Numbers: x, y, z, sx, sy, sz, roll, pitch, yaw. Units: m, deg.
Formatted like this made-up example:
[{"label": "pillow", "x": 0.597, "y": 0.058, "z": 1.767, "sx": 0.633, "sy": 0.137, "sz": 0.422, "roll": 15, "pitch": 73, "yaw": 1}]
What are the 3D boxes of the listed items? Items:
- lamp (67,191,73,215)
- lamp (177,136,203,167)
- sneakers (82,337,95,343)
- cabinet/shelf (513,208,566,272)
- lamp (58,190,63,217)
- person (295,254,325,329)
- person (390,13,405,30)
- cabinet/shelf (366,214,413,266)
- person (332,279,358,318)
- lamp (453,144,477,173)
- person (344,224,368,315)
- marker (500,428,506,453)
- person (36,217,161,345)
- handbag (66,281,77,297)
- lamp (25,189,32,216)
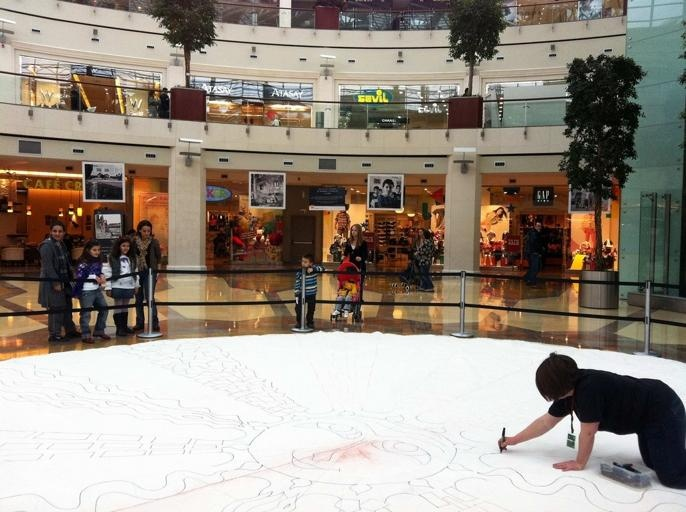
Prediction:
[{"label": "lamp", "x": -11.496, "y": -2.235, "z": 24.422, "sx": 0.294, "sy": 0.940, "sz": 0.169, "roll": -3, "pitch": 10, "yaw": -28}, {"label": "lamp", "x": -4.762, "y": -3.225, "z": 17.790, "sx": 0.849, "sy": 1.051, "sz": 0.289, "roll": 0, "pitch": 0, "yaw": -28}, {"label": "sneakers", "x": -3.974, "y": 1.290, "z": 9.045, "sx": 0.202, "sy": 0.087, "sz": 0.077, "roll": -1, "pitch": 1, "yaw": 32}, {"label": "cabinet/shelf", "x": 7.297, "y": -0.674, "z": 21.674, "sx": 2.206, "sy": 2.335, "sz": 1.701, "roll": 0, "pitch": 1, "yaw": 0}, {"label": "lamp", "x": -11.847, "y": -2.182, "z": 24.320, "sx": 0.230, "sy": 1.028, "sz": 0.135, "roll": -2, "pitch": 10, "yaw": -20}, {"label": "person", "x": -0.624, "y": 0.600, "z": 10.381, "sx": 0.478, "sy": 1.347, "sz": 1.112, "roll": 1, "pitch": 10, "yaw": -4}, {"label": "person", "x": 2.082, "y": -9.101, "z": 22.896, "sx": 0.519, "sy": 1.010, "sz": 0.550, "roll": 1, "pitch": -4, "yaw": -1}, {"label": "cabinet/shelf", "x": 2.294, "y": -0.941, "z": 24.192, "sx": 2.427, "sy": 2.671, "sz": 1.936, "roll": 0, "pitch": -1, "yaw": -4}, {"label": "person", "x": 0.016, "y": 0.799, "z": 10.731, "sx": 0.461, "sy": 0.315, "sz": 0.859, "roll": 4, "pitch": 26, "yaw": 11}, {"label": "lamp", "x": 3.734, "y": -3.015, "z": 17.819, "sx": 0.767, "sy": 1.019, "sz": 0.290, "roll": 1, "pitch": 2, "yaw": 5}, {"label": "person", "x": 0.218, "y": 0.280, "z": 11.346, "sx": 0.555, "sy": 1.838, "sz": 0.507, "roll": -3, "pitch": 18, "yaw": -10}, {"label": "marker", "x": 1.584, "y": 1.827, "z": 5.795, "sx": 0.043, "sy": 0.270, "sz": 0.039, "roll": -1, "pitch": -15, "yaw": 32}, {"label": "person", "x": -4.062, "y": 0.392, "z": 9.178, "sx": 1.355, "sy": 1.847, "sz": 0.840, "roll": -3, "pitch": 11, "yaw": -29}, {"label": "handbag", "x": -4.257, "y": 0.514, "z": 9.075, "sx": 0.137, "sy": 0.277, "sz": 0.374, "roll": -4, "pitch": 12, "yaw": -34}, {"label": "lamp", "x": -12.928, "y": -2.188, "z": 23.740, "sx": 0.266, "sy": 0.997, "sz": 0.176, "roll": -2, "pitch": 10, "yaw": -24}]
